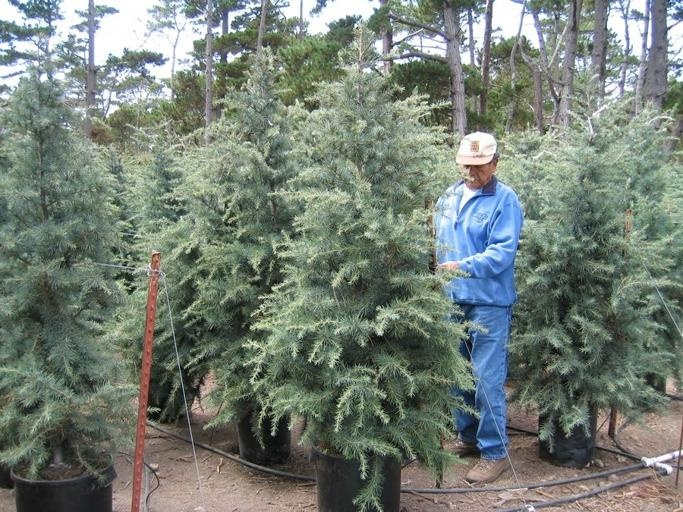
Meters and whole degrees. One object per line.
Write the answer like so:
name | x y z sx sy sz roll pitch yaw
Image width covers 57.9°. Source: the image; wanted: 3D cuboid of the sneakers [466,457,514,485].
sneakers | 1.388 2.038 5.949 0.504 0.227 0.179 -7 23 -22

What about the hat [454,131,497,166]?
hat | 1.277 -1.040 5.842 0.351 0.300 0.499 3 19 29
